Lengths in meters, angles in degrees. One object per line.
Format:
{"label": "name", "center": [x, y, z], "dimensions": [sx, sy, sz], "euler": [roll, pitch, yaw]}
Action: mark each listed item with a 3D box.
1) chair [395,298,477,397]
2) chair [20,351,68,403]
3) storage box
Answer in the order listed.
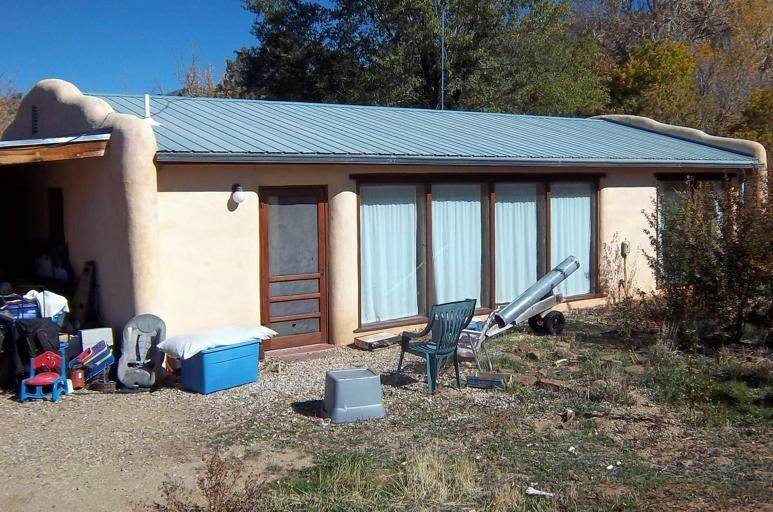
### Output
{"label": "chair", "center": [0.813, 1.474, 12.314], "dimensions": [1.225, 1.525, 1.261], "euler": [3, 6, 28]}
{"label": "chair", "center": [-5.553, 1.989, 11.873], "dimensions": [0.735, 0.781, 0.776], "euler": [-2, -5, 23]}
{"label": "storage box", "center": [-2.783, 1.845, 12.398], "dimensions": [1.082, 0.715, 0.737], "euler": [-7, 7, -40]}
